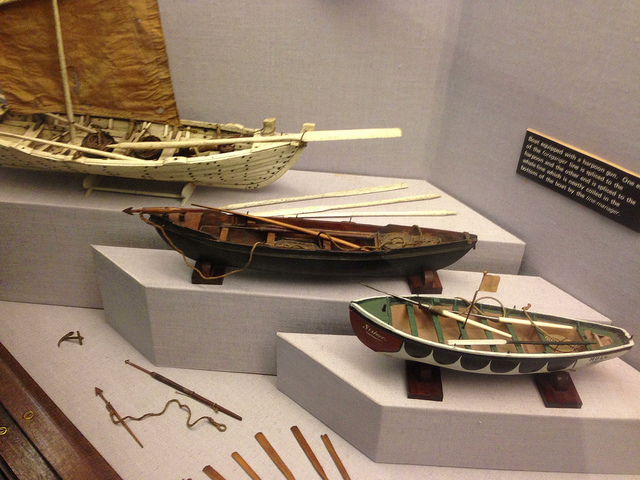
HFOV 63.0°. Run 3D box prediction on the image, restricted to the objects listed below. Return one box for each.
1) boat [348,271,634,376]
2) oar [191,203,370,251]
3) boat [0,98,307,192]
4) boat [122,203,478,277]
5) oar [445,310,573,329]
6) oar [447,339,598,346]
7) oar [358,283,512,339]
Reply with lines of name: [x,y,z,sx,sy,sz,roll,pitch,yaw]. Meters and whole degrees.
boat: [1.183,0.630,3.799,1.975,0.805,0.511,3,29,-3]
oar: [-0.354,-0.092,4.260,1.648,0.098,0.055,12,61,10]
boat: [-1.642,-0.840,4.853,2.764,0.721,1.051,3,26,0]
boat: [-0.082,0.083,4.160,2.634,0.408,0.523,3,23,-8]
oar: [1.354,0.597,3.889,1.642,0.050,0.056,3,4,5]
oar: [1.410,0.731,3.731,0.905,0.050,0.033,2,-1,-3]
oar: [0.819,0.538,3.894,1.505,0.058,0.065,14,37,14]
